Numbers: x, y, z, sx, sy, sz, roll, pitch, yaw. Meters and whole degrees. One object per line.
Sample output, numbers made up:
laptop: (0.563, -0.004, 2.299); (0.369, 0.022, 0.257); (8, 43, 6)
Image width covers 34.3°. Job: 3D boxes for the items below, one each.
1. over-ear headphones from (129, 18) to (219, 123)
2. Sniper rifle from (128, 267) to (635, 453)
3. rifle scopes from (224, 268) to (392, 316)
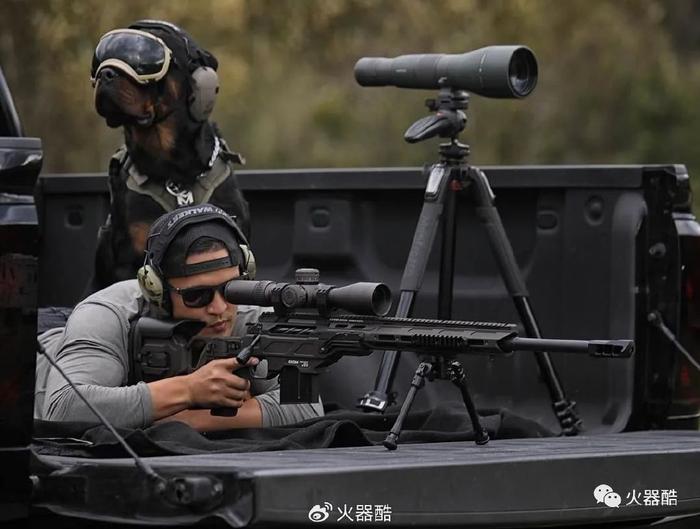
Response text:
over-ear headphones: (-0.868, -1.099, 6.447); (0.405, 0.623, 0.256); (19, 34, 25)
Sniper rifle: (-0.066, 0.352, 4.638); (2.393, 0.677, 0.453); (0, 1, 43)
rifle scopes: (-0.196, 0.108, 4.573); (0.782, 0.182, 0.164); (0, 1, 38)
